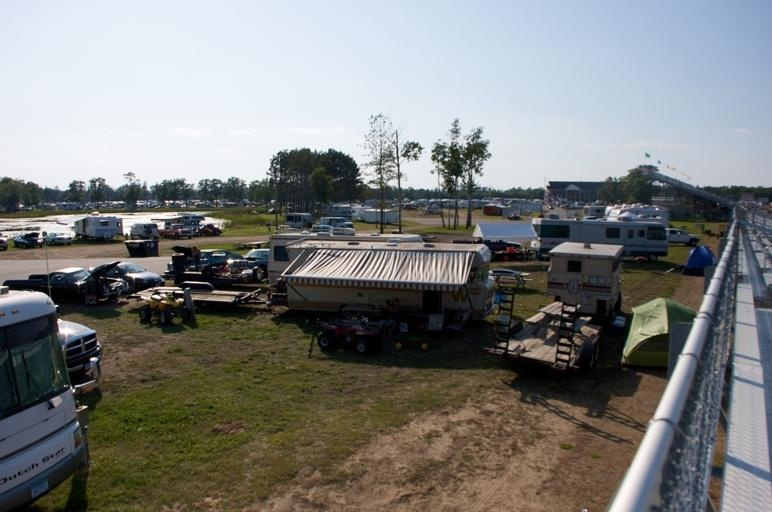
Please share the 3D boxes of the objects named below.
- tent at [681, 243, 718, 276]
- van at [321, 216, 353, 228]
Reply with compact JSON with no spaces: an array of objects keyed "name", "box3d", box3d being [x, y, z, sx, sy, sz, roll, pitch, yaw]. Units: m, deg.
[{"name":"tent","box3d":[18.574,0.379,30.816,1.452,1.633,1.828,7,14,27]},{"name":"van","box3d":[-5.619,-3.393,57.397,2.944,1.015,1.938,2,9,30]}]
